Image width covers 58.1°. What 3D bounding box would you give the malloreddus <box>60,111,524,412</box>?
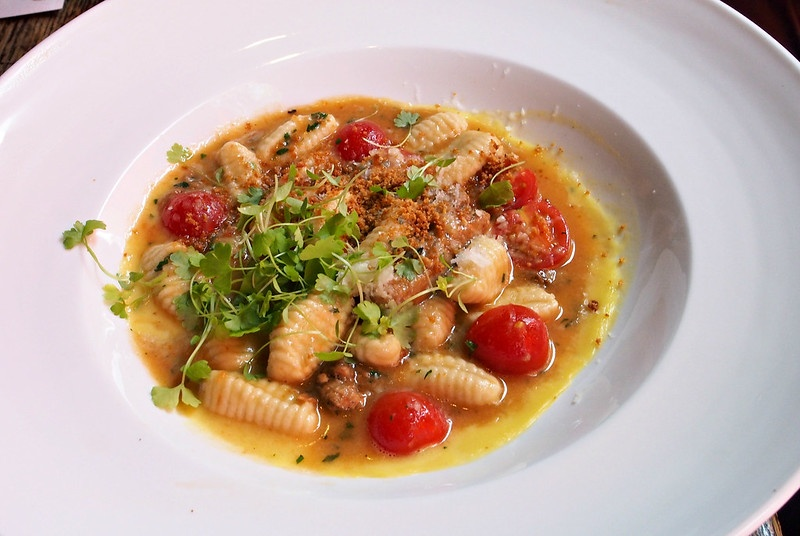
[{"bbox_3d":[-0.377,0.055,5.563,2.776,0.519,2.158,-3,69,-8],"label":"malloreddus"}]
